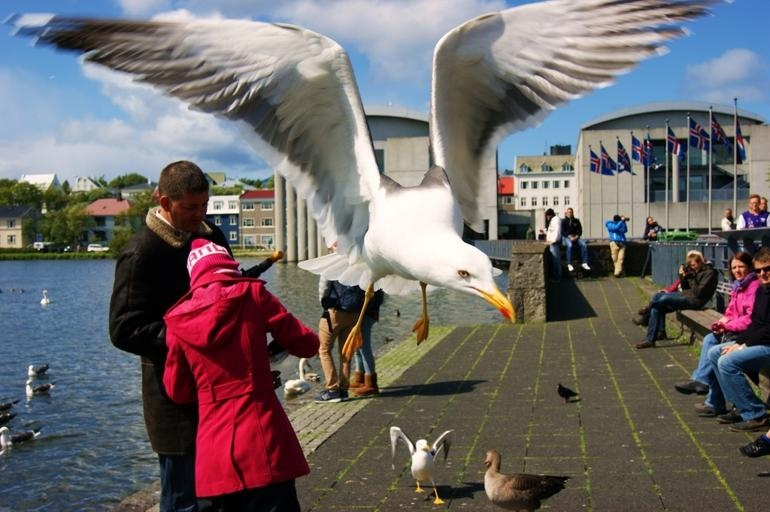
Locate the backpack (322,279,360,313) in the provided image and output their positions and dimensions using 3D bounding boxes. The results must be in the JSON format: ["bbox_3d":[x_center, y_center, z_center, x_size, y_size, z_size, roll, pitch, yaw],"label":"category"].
[{"bbox_3d":[-0.624,0.617,15.258,0.573,0.489,0.431,-9,-2,5],"label":"backpack"}]

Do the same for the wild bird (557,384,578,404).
[{"bbox_3d":[2.755,2.010,14.862,0.306,0.269,0.286,-9,10,9],"label":"wild bird"}]

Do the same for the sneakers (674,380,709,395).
[{"bbox_3d":[4.599,1.968,14.957,0.535,0.280,0.192,6,-14,9],"label":"sneakers"}]

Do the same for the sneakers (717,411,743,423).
[{"bbox_3d":[4.823,2.226,13.884,0.360,0.146,0.129,0,-3,22],"label":"sneakers"}]

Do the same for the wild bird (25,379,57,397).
[{"bbox_3d":[-7.345,2.883,21.217,0.613,0.277,0.435,-5,32,-36],"label":"wild bird"}]

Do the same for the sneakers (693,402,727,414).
[{"bbox_3d":[4.650,2.157,14.176,0.465,0.214,0.152,0,2,5],"label":"sneakers"}]

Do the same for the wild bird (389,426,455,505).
[{"bbox_3d":[0.491,2.648,13.045,0.644,0.682,1.007,1,-14,-5],"label":"wild bird"}]

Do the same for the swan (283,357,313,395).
[{"bbox_3d":[-1.613,2.234,18.198,0.366,0.758,0.965,-8,-7,21],"label":"swan"}]

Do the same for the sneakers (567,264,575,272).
[{"bbox_3d":[4.848,0.284,25.446,0.208,0.196,0.120,-12,0,-41],"label":"sneakers"}]

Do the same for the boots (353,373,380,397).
[{"bbox_3d":[-0.197,2.010,15.575,0.590,0.377,0.204,2,4,23],"label":"boots"}]
